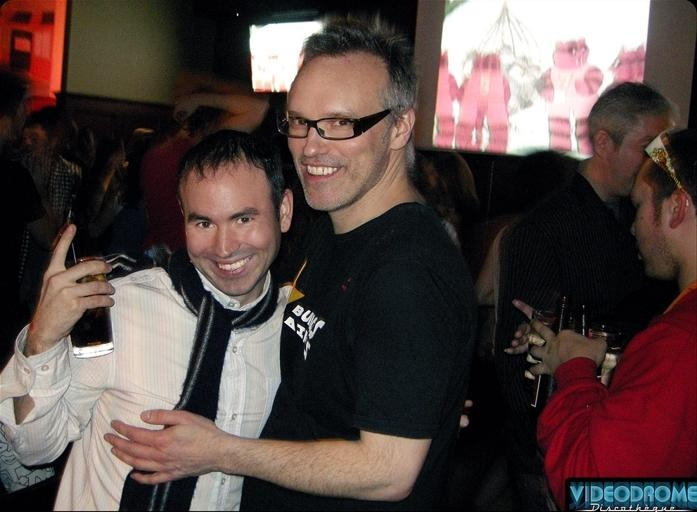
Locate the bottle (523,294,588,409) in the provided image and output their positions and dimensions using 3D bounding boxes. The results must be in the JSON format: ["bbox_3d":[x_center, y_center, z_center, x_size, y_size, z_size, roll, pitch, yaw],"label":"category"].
[{"bbox_3d":[0.950,0.448,2.668,0.142,0.453,0.456,13,-8,-38],"label":"bottle"}]
